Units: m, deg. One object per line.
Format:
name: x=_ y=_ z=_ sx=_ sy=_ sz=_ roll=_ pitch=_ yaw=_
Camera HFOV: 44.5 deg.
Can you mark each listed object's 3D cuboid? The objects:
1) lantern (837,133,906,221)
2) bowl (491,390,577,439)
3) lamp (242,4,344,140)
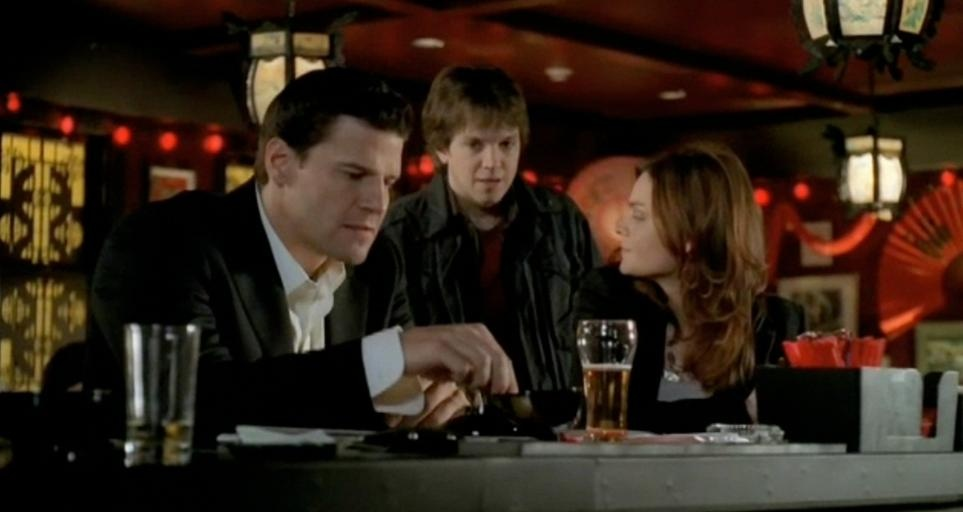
lantern: x=2.876 y=-0.615 z=8.598 sx=0.530 sy=0.550 sz=0.214 roll=2 pitch=-7 yaw=-19
bowl: x=0.349 y=0.706 z=5.387 sx=0.328 sy=0.135 sz=0.378 roll=4 pitch=-11 yaw=20
lamp: x=-1.089 y=-1.059 z=6.961 sx=0.786 sy=0.821 sz=0.716 roll=-1 pitch=0 yaw=-12
